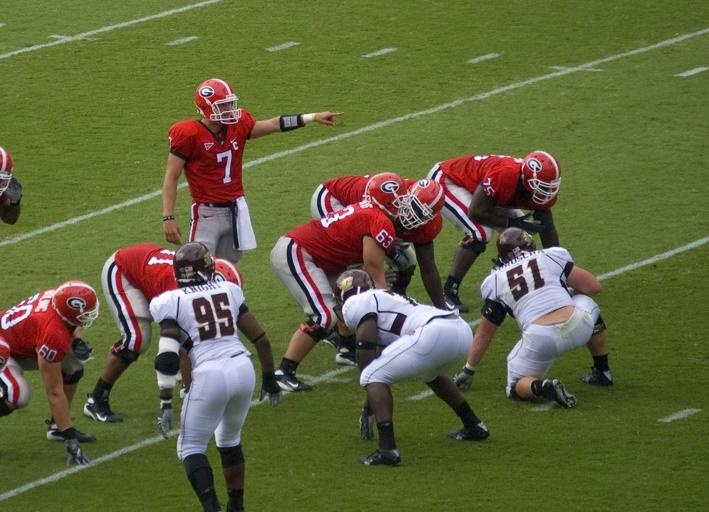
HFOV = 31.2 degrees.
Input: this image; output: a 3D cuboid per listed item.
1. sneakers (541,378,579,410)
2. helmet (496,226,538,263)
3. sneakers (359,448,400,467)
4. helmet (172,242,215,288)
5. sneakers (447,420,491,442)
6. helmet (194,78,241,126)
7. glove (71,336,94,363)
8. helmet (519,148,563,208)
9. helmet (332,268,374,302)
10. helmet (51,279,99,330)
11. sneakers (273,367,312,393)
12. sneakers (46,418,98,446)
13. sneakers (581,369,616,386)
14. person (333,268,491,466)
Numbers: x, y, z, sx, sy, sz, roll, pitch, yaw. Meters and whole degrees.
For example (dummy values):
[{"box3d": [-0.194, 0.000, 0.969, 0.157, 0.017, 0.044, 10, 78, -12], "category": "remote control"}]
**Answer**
[{"box3d": [1.569, 1.093, 9.963, 0.174, 0.355, 0.131, -14, 40, 58], "category": "sneakers"}, {"box3d": [1.263, -0.063, 10.228, 0.368, 0.296, 0.235, -12, 41, 1], "category": "helmet"}, {"box3d": [0.210, 1.501, 9.385, 0.336, 0.107, 0.109, 1, 1, 12], "category": "sneakers"}, {"box3d": [-1.125, 0.059, 8.997, 0.399, 0.309, 0.256, -9, 16, -14], "category": "helmet"}, {"box3d": [0.882, 1.344, 9.694, 0.359, 0.118, 0.116, 2, 8, 17], "category": "sneakers"}, {"box3d": [-1.204, -1.372, 11.019, 0.486, 0.318, 0.326, 20, 33, 17], "category": "helmet"}, {"box3d": [-2.102, 0.730, 9.873, 0.097, 0.198, 0.158, -39, -16, 11], "category": "glove"}, {"box3d": [1.629, -0.656, 11.185, 0.335, 0.497, 0.271, -9, 27, 15], "category": "helmet"}, {"box3d": [-0.011, 0.238, 9.462, 0.323, 0.217, 0.220, -2, 5, 22], "category": "helmet"}, {"box3d": [-2.050, 0.358, 9.689, 0.415, 0.308, 0.281, 23, 25, -20], "category": "helmet"}, {"box3d": [-0.534, 1.043, 10.373, 0.395, 0.148, 0.131, 19, 5, -2], "category": "sneakers"}, {"box3d": [-2.144, 1.378, 9.840, 0.520, 0.246, 0.145, 1, 12, 2], "category": "sneakers"}, {"box3d": [1.968, 1.004, 10.337, 0.311, 0.109, 0.105, 6, 13, 39], "category": "sneakers"}, {"box3d": [0.420, 0.834, 9.442, 0.973, 1.413, 0.824, -14, 26, 4], "category": "person"}]
